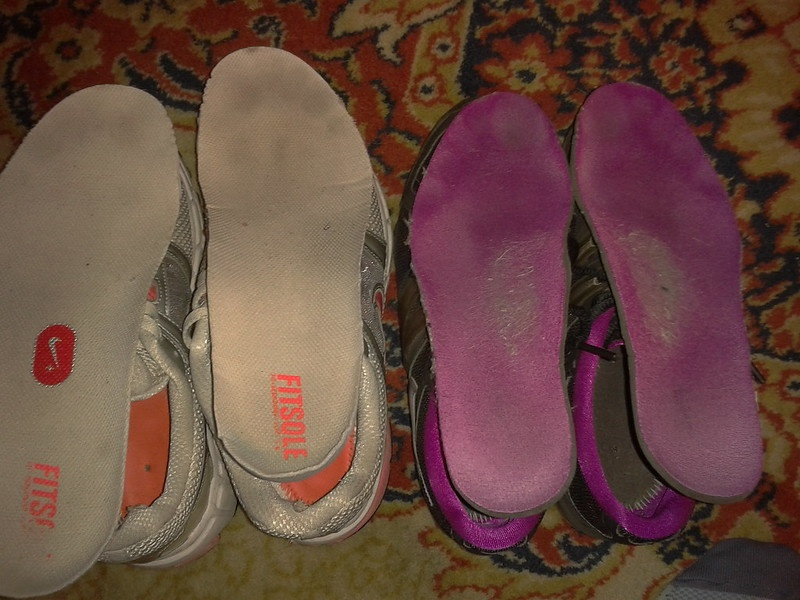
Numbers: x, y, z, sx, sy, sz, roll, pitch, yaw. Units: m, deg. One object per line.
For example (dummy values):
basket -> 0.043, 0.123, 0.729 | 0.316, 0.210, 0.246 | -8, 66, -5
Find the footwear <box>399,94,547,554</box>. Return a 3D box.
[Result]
footwear -> 0.169, 0.061, 1.558 | 0.308, 0.304, 0.900 | -2, 91, 2

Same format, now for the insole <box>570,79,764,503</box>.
insole -> 0.512, -0.018, 1.475 | 0.317, 0.178, 0.792 | -5, 80, 2
